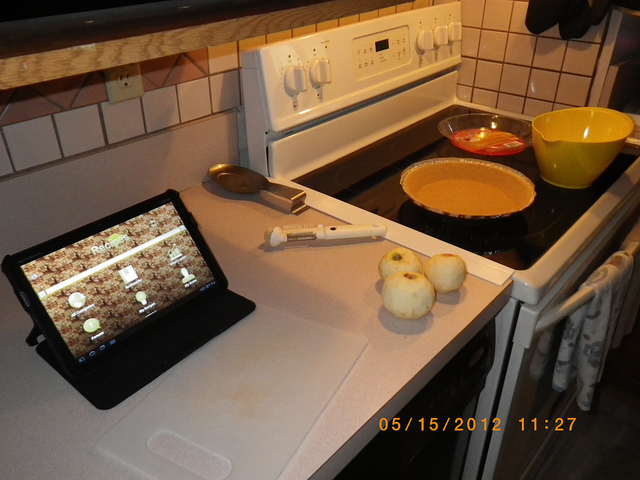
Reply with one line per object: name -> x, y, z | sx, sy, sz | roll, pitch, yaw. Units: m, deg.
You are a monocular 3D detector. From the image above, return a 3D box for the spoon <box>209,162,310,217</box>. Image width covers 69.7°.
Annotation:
spoon -> -0.159, -0.142, 1.170 | 0.232, 0.040, 0.132 | 27, 32, 10

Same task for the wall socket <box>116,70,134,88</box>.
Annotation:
wall socket -> -0.419, -0.350, 0.990 | 0.004, 0.034, 0.034 | 27, 32, 31

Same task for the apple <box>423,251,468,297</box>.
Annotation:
apple -> 0.248, 0.052, 0.888 | 0.083, 0.093, 0.081 | -3, 24, 20

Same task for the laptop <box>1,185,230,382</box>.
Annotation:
laptop -> -0.356, 0.083, 0.787 | 0.278, 0.178, 0.098 | -26, 39, -36

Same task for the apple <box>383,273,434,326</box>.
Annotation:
apple -> 0.154, 0.097, 0.815 | 0.078, 0.062, 0.066 | -22, 40, -18

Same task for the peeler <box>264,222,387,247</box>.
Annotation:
peeler -> 0.011, -0.027, 1.009 | 0.263, 0.054, 0.060 | -9, 37, -3
